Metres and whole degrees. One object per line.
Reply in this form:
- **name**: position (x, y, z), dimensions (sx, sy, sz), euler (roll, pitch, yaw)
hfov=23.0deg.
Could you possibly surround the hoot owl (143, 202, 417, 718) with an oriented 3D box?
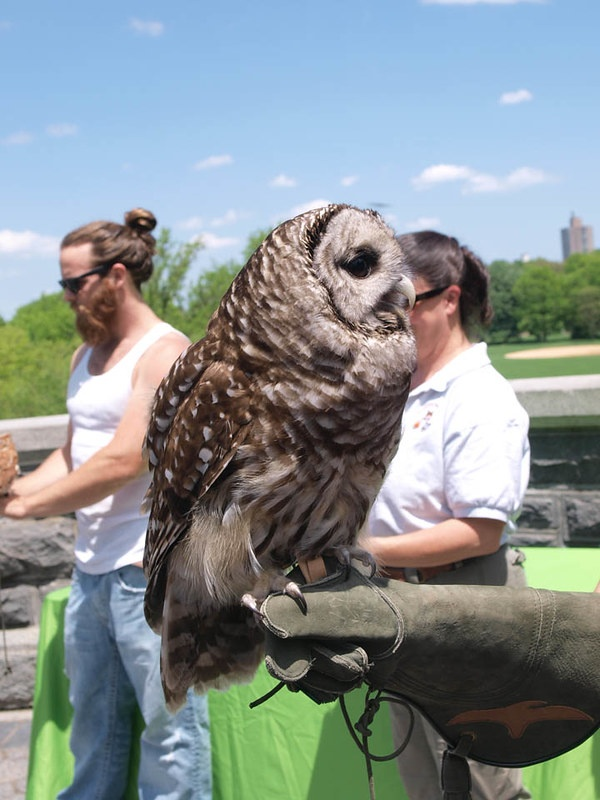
- **hoot owl**: position (0.064, 0.271, 4.619), dimensions (1.061, 1.484, 1.041), euler (6, -8, -24)

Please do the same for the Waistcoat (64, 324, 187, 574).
- **Waistcoat**: position (-0.704, 0.163, 5.279), dimensions (0.502, 0.832, 0.405), euler (-14, 19, -43)
